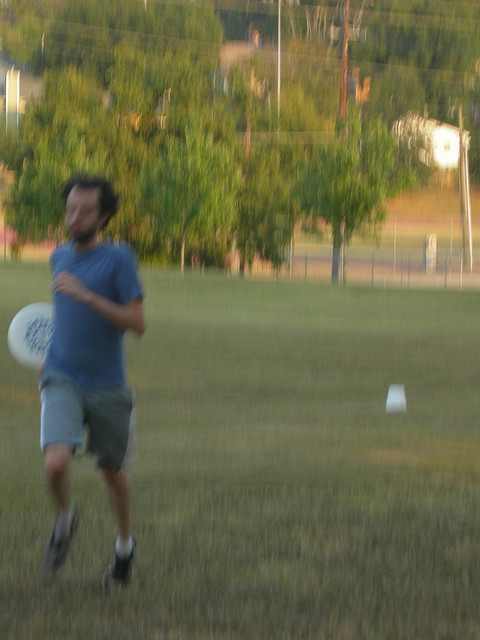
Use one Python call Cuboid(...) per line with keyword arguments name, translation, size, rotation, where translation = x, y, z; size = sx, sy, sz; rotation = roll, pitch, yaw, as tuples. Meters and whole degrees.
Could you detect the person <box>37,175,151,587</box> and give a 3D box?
Cuboid(name="person", translation=(-0.555, 0.204, 5.983), size=(0.384, 1.494, 0.674), rotation=(0, 4, -7))
